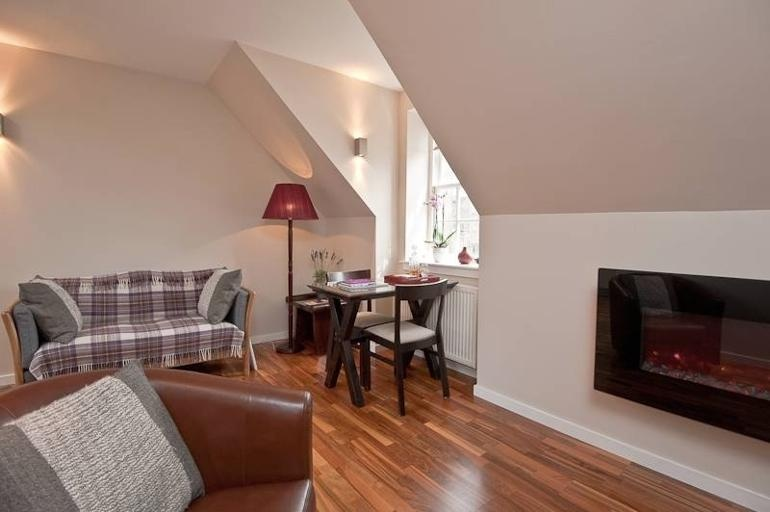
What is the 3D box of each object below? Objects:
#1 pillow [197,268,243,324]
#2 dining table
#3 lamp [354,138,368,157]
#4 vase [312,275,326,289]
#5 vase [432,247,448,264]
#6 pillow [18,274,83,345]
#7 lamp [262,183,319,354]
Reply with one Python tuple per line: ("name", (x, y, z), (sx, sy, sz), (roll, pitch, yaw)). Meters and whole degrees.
("pillow", (-1.540, 0.397, 4.541), (0.232, 0.348, 0.473), (-9, 3, -30))
("dining table", (-0.003, 0.682, 4.305), (1.024, 0.870, 1.135), (-1, 1, -35))
("lamp", (-0.220, -1.067, 4.813), (0.157, 0.114, 0.123), (2, 0, -25))
("vase", (-0.642, 0.248, 4.803), (0.132, 0.164, 0.146), (2, -2, 17))
("vase", (0.549, -0.007, 4.846), (0.151, 0.163, 0.151), (3, 0, -7))
("pillow", (-2.695, 0.450, 3.929), (0.407, 0.474, 0.292), (2, 1, -32))
("lamp", (-1.034, 0.121, 5.192), (0.530, 1.748, 0.606), (2, 1, -14))
